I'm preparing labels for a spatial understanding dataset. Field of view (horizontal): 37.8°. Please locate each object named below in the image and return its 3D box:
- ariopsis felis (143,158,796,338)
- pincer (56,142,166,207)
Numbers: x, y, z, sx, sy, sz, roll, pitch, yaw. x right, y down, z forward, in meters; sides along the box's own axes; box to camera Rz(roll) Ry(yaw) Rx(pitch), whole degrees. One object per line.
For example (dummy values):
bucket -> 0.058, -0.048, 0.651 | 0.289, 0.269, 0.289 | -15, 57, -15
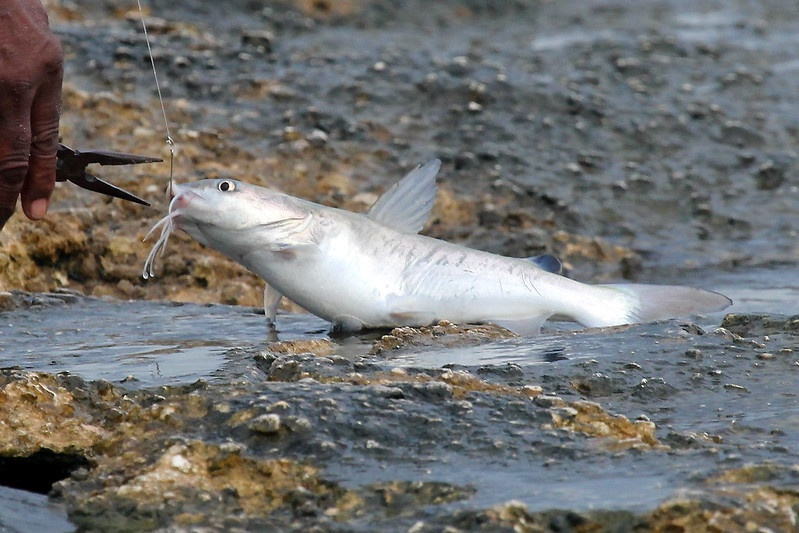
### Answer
ariopsis felis -> 0.574, -0.134, 10.850 | 7.839, 1.593, 2.193 | 1, -2, 11
pincer -> -2.426, -0.721, 8.999 | 0.803, 0.474, 0.553 | -8, 16, -41
